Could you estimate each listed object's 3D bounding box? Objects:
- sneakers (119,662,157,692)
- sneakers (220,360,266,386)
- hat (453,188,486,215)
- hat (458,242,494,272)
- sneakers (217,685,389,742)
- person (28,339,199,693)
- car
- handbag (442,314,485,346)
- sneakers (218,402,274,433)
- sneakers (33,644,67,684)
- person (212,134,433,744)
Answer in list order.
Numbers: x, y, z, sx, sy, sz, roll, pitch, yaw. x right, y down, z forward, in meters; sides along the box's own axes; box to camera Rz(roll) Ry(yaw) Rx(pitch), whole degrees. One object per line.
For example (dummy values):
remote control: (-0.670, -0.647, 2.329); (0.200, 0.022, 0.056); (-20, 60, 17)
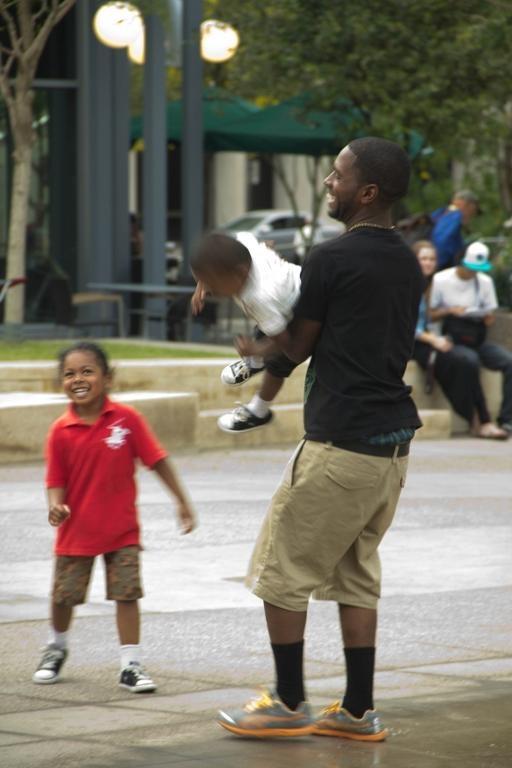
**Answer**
sneakers: (-0.364, 0.917, 4.291); (0.057, 0.074, 0.162); (3, -5, -26)
sneakers: (-0.038, -0.037, 3.887); (0.145, 0.053, 0.056); (-14, 2, 7)
hat: (1.957, -1.680, 12.616); (0.203, 0.270, 0.270); (3, 38, 7)
hat: (1.824, -1.048, 11.359); (0.214, 0.160, 0.291); (5, 22, -16)
sneakers: (0.115, 0.920, 3.850); (0.490, 0.174, 0.167); (4, -14, -6)
person: (-0.448, 0.408, 4.369); (0.503, 1.063, 0.403); (1, 6, 5)
car: (0.137, -3.112, 27.936); (1.868, 1.597, 4.546); (0, 0, 44)
handbag: (1.771, -0.434, 11.634); (0.374, 0.296, 0.260); (0, 6, -13)
sneakers: (-0.037, 0.091, 3.961); (0.134, 0.059, 0.075); (2, 1, -1)
sneakers: (-0.646, 0.882, 4.328); (0.057, 0.069, 0.169); (1, 2, 2)
person: (0.193, 0.153, 3.774); (0.507, 1.661, 0.305); (1, 6, 6)
